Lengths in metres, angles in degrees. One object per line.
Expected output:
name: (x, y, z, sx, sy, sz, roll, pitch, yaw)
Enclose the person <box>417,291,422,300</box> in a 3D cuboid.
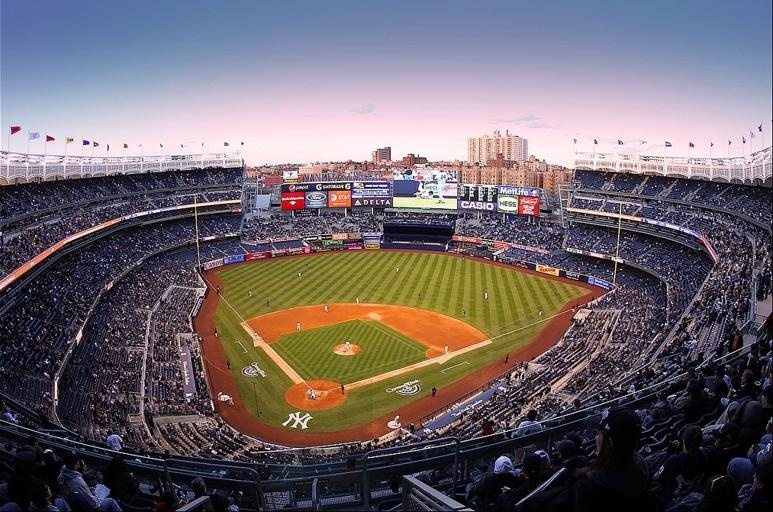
person: (3.299, 3.866, 47.255, 0.404, 0.858, 0.376, -17, 53, -5)
